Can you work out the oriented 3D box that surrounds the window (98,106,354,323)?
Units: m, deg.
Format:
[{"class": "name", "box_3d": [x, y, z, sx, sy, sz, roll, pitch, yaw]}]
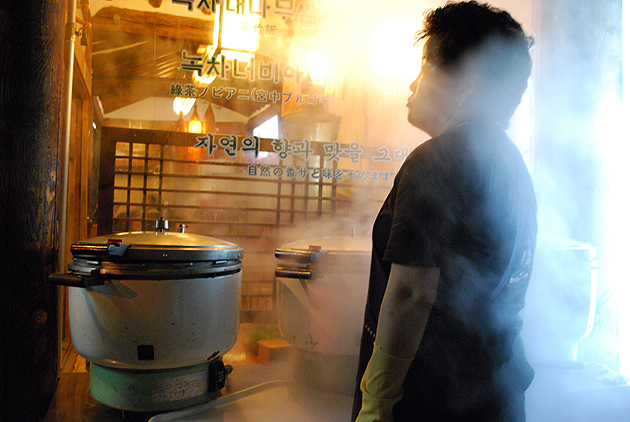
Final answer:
[{"class": "window", "box_3d": [-0.558, 0.040, 3.415, 1.502, 1.060, 0.035, 4, 24, 7]}]

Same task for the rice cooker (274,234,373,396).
[{"class": "rice cooker", "box_3d": [0.038, 0.567, 3.267, 0.729, 0.806, 0.717, -1, 3, -44]}]

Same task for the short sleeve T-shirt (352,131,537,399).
[{"class": "short sleeve T-shirt", "box_3d": [0.624, 0.239, 2.545, 0.678, 1.165, 1.222, 1, -8, 40]}]

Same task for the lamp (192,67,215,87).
[{"class": "lamp", "box_3d": [-0.649, -0.773, 3.264, 0.102, 0.077, 0.104, -6, 38, -9]}]

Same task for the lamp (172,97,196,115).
[{"class": "lamp", "box_3d": [-0.768, -0.610, 3.262, 0.094, 0.121, 0.032, 14, 10, -9]}]
